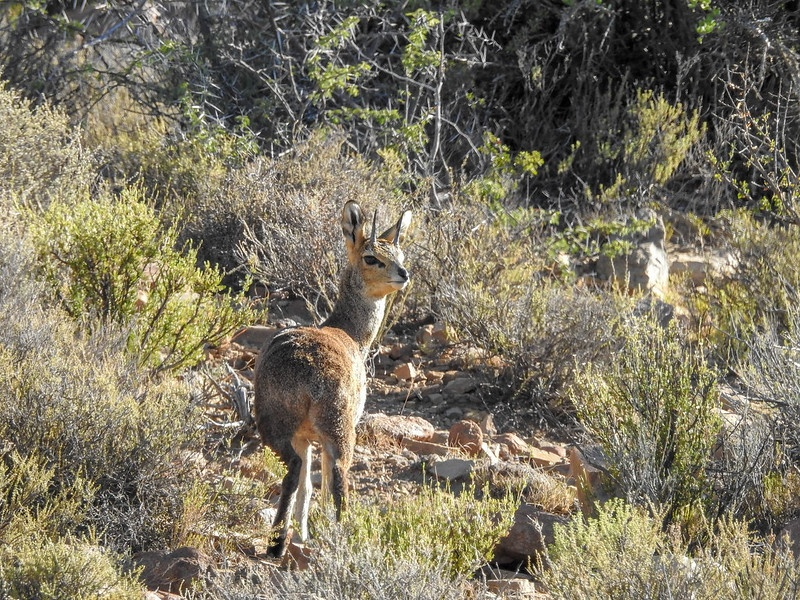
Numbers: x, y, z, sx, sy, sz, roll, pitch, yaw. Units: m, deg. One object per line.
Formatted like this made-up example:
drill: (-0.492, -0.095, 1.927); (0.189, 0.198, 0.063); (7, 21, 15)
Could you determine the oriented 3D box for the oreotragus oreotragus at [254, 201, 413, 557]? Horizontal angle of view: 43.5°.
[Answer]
oreotragus oreotragus: (-0.494, 0.480, 6.771); (0.757, 2.364, 0.985); (8, -1, 14)
